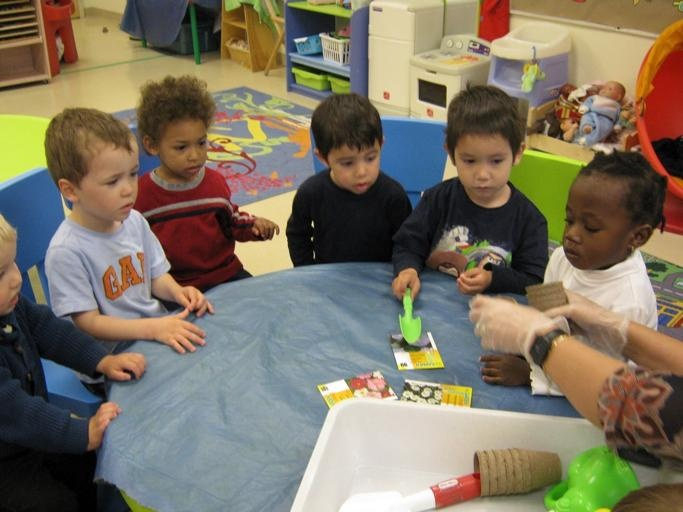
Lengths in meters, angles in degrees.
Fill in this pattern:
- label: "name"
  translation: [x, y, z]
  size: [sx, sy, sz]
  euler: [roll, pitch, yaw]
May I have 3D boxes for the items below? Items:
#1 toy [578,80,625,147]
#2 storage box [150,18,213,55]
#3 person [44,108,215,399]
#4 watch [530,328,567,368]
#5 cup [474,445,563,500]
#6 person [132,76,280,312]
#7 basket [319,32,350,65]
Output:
- label: "toy"
  translation: [1.530, -0.840, 3.324]
  size: [0.212, 0.162, 0.450]
  euler: [19, 72, 45]
- label: "storage box"
  translation: [-1.892, -2.661, 6.715]
  size: [0.379, 0.231, 0.596]
  euler: [-25, 35, -33]
- label: "person"
  translation: [-0.634, -0.002, 1.715]
  size: [0.513, 0.848, 0.452]
  euler: [17, 24, 20]
- label: "watch"
  translation: [0.397, 0.172, 1.103]
  size: [0.053, 0.072, 0.072]
  euler: [50, 2, 10]
- label: "cup"
  translation: [0.338, 0.415, 1.088]
  size: [0.149, 0.067, 0.084]
  euler: [-5, 44, -4]
- label: "person"
  translation: [-0.507, -0.199, 2.056]
  size: [0.525, 0.863, 0.509]
  euler: [-2, 27, -15]
- label: "basket"
  translation: [-0.064, -1.821, 4.958]
  size: [0.229, 0.203, 0.322]
  euler: [-28, 41, -35]
